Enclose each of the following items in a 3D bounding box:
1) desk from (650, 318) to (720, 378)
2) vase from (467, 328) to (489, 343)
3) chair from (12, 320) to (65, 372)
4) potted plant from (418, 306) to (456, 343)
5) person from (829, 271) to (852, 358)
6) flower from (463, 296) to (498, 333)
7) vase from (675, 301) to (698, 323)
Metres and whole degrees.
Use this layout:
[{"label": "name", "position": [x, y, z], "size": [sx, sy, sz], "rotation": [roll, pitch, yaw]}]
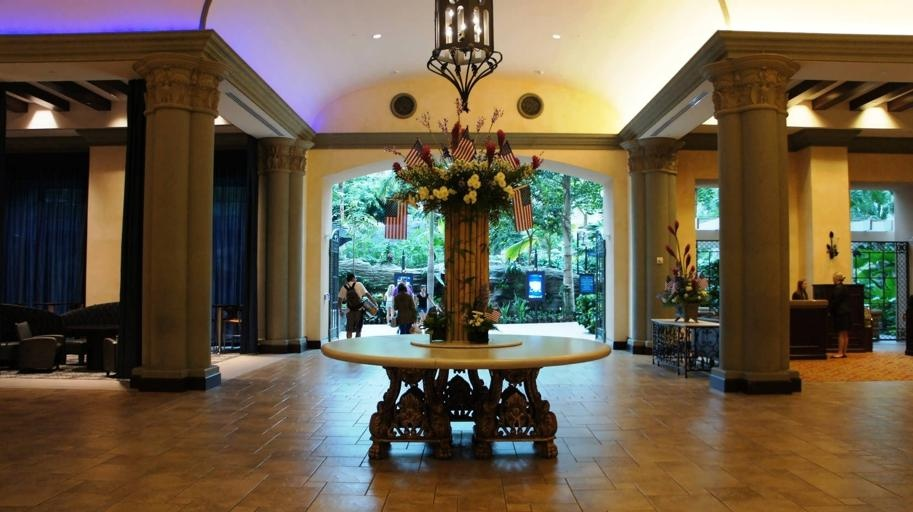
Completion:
[{"label": "desk", "position": [5.016, 1.977, 13.976], "size": [1.058, 1.083, 1.782], "rotation": [1, -3, 2]}, {"label": "vase", "position": [0.340, 1.220, 9.533], "size": [0.384, 0.240, 0.202], "rotation": [1, -10, -4]}, {"label": "chair", "position": [-9.098, 1.916, 13.555], "size": [1.070, 1.221, 1.151], "rotation": [1, -3, -13]}, {"label": "potted plant", "position": [-0.311, 1.059, 9.716], "size": [0.517, 0.492, 0.492], "rotation": [1, -8, -6]}, {"label": "person", "position": [9.321, 1.517, 15.507], "size": [0.476, 2.034, 1.025], "rotation": [6, 14, 24]}, {"label": "flower", "position": [0.350, 0.909, 9.554], "size": [0.555, 0.559, 0.531], "rotation": [2, -15, -6]}, {"label": "vase", "position": [5.024, 1.245, 13.906], "size": [0.557, 0.375, 0.440], "rotation": [0, -11, -1]}]
